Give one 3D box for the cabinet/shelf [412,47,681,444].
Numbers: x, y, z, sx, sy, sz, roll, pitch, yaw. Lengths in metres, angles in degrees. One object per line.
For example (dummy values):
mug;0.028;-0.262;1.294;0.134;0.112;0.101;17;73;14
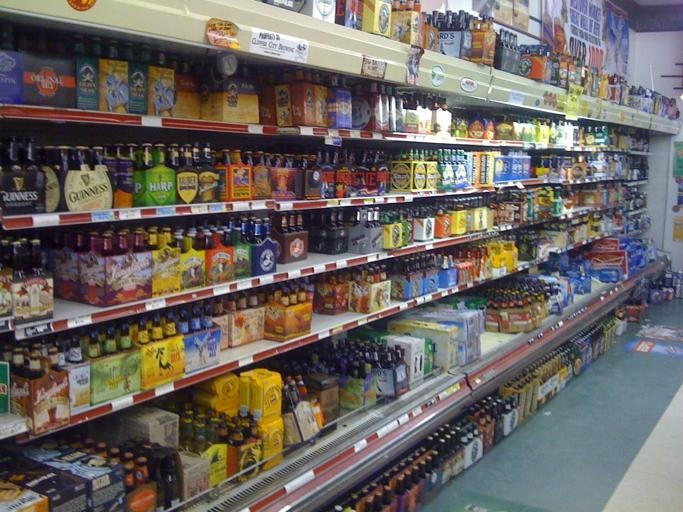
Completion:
cabinet/shelf;2.485;-0.109;6.768;5.021;2.064;1.284;-24;28;-34
